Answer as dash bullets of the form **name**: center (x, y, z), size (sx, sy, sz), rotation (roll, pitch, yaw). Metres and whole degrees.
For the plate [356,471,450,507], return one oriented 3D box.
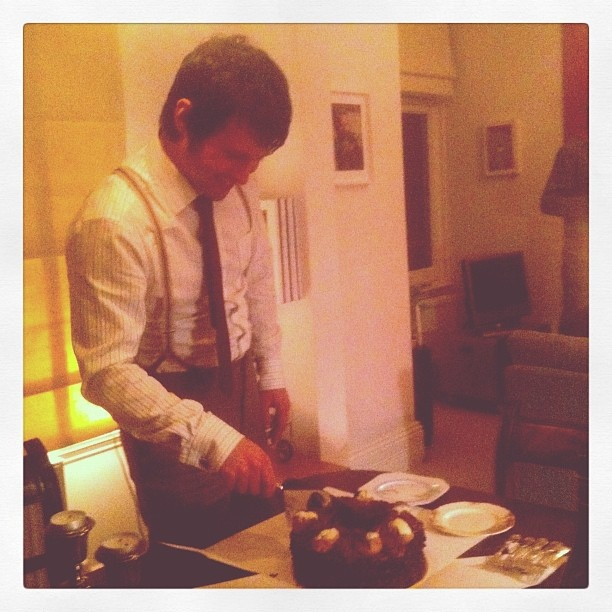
- **plate**: center (0.291, 0.527, 1.786), size (0.152, 0.020, 0.128), rotation (1, 14, 16)

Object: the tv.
- **tv**: center (0.541, -0.040, 1.777), size (0.178, 0.212, 0.038), rotation (-5, 7, -2)

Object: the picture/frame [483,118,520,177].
- **picture/frame**: center (0.550, -0.446, 1.778), size (0.088, 0.172, 0.025), rotation (-2, -18, 12)
